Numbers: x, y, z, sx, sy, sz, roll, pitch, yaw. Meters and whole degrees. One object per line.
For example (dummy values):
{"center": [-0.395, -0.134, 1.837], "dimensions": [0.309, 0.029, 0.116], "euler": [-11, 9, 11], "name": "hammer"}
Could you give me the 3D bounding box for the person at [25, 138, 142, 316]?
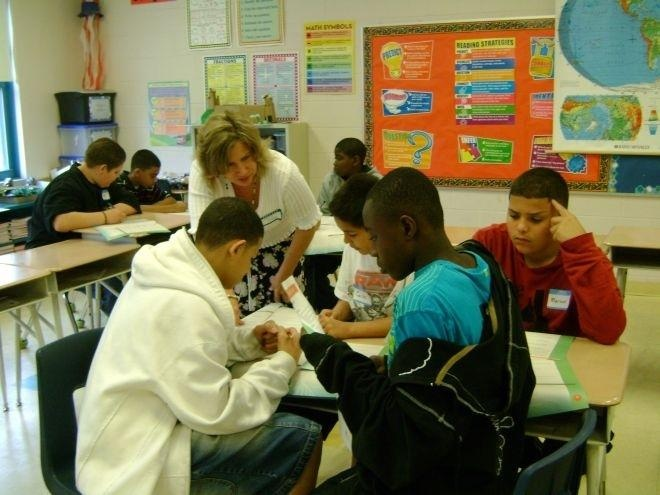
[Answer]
{"center": [-1.904, -0.120, 4.294], "dimensions": [0.811, 1.365, 0.711], "euler": [13, 13, 0], "name": "person"}
